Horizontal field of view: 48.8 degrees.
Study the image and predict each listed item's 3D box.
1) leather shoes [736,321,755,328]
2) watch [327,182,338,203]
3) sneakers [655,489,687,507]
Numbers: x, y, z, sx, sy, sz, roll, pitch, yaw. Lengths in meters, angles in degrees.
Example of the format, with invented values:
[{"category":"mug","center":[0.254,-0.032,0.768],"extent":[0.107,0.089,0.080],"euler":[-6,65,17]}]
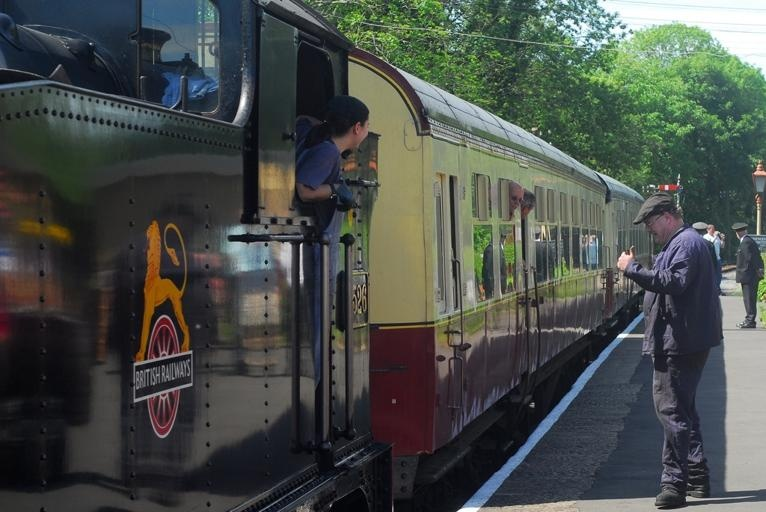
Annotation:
[{"category":"leather shoes","center":[8.790,1.686,20.553],"extent":[0.416,0.195,0.159],"euler":[3,0,-8]},{"category":"watch","center":[-0.287,-0.358,4.686],"extent":[0.025,0.071,0.050],"euler":[4,3,31]},{"category":"sneakers","center":[2.375,2.027,7.034],"extent":[0.112,0.135,0.305],"euler":[-5,-12,36]}]
